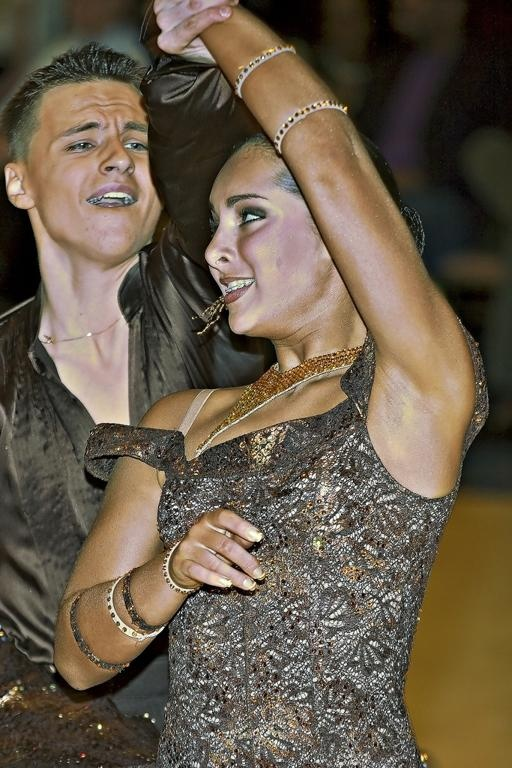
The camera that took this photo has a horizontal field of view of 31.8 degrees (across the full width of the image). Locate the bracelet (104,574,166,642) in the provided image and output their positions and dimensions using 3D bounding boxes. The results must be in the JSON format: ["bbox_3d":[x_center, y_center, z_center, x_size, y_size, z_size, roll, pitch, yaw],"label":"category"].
[{"bbox_3d":[-0.179,0.348,1.406,0.103,0.104,0.042,9,25,32],"label":"bracelet"}]

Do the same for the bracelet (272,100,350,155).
[{"bbox_3d":[0.071,-0.345,1.164,0.081,0.074,0.019,-5,52,-41],"label":"bracelet"}]

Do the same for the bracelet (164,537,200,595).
[{"bbox_3d":[-0.097,0.254,1.290,0.071,0.080,0.023,17,32,31],"label":"bracelet"}]

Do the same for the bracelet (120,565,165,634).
[{"bbox_3d":[-0.181,0.328,1.383,0.026,0.088,0.089,-22,37,-5],"label":"bracelet"}]

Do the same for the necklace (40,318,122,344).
[{"bbox_3d":[-0.402,-0.121,2.005,0.197,0.025,0.031,-7,24,-20],"label":"necklace"}]

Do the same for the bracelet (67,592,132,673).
[{"bbox_3d":[-0.252,0.394,1.468,0.033,0.123,0.120,-39,22,20],"label":"bracelet"}]
